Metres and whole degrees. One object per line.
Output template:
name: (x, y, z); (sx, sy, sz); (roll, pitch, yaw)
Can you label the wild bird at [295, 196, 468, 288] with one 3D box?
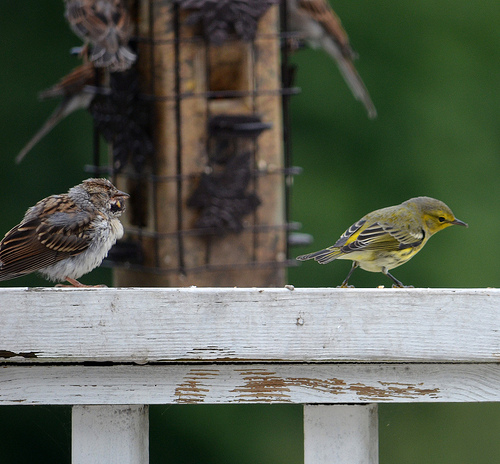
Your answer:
wild bird: (0.889, 0.049, 7.269); (1.266, 0.632, 0.425); (5, -10, -26)
